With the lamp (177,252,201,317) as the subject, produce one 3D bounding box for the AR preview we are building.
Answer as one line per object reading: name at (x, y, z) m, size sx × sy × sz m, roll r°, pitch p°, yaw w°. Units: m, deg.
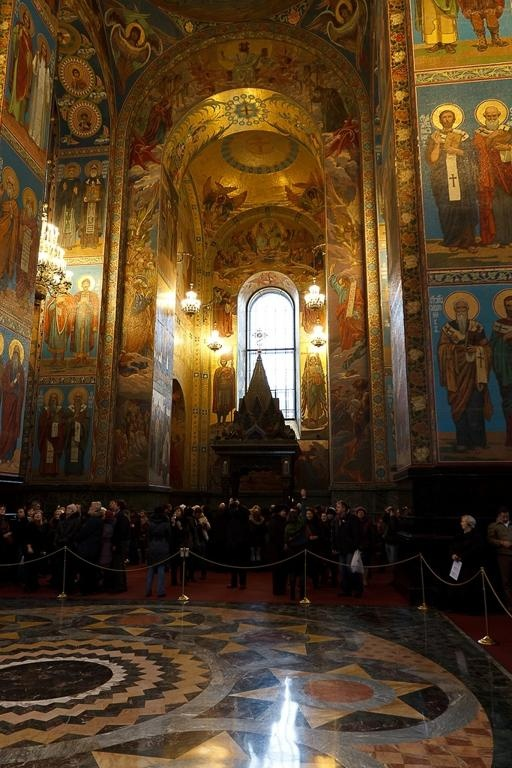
lamp at (-2.084, -3.084, 18.147) m, size 0.635 × 1.978 × 0.450 m, roll 0°, pitch -2°, yaw -32°
